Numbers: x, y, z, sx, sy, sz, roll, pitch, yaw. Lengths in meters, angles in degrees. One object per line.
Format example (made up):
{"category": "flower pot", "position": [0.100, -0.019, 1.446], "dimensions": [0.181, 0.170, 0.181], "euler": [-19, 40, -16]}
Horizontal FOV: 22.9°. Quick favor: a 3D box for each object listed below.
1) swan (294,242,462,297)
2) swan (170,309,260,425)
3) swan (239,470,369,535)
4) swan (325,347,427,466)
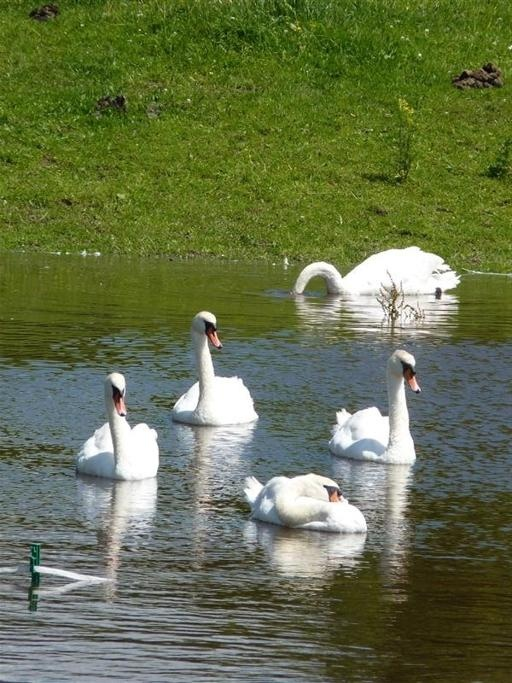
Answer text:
{"category": "swan", "position": [2.610, -1.371, 26.998], "dimensions": [3.505, 1.257, 1.388], "euler": [-10, 7, -14]}
{"category": "swan", "position": [-0.484, 0.297, 13.934], "dimensions": [0.767, 1.343, 1.640], "euler": [1, 12, 3]}
{"category": "swan", "position": [0.322, 1.206, 9.611], "dimensions": [1.053, 0.419, 0.514], "euler": [7, 8, 30]}
{"category": "swan", "position": [1.140, 0.609, 12.284], "dimensions": [0.706, 1.285, 1.588], "euler": [0, 10, -20]}
